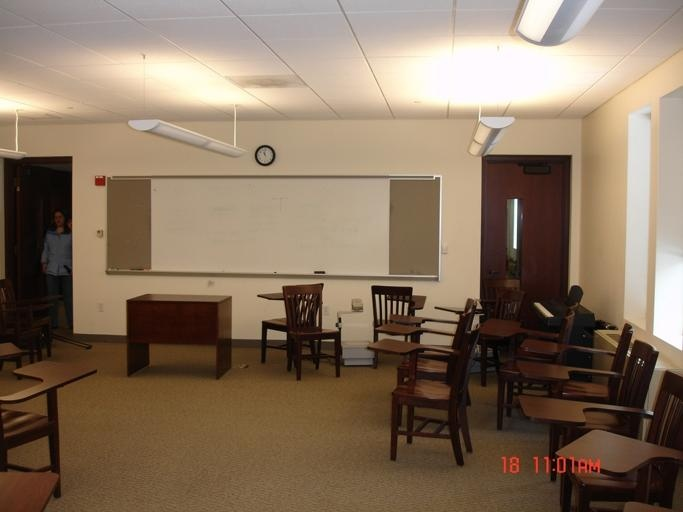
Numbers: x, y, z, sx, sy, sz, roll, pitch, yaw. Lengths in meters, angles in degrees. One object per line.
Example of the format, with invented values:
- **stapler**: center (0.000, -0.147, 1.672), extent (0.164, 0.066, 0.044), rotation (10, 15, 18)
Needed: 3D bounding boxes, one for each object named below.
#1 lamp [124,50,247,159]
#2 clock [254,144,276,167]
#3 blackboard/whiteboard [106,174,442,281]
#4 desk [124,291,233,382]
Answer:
- **lamp**: center (-1.996, -1.684, 6.591), extent (1.431, 0.855, 3.324), rotation (1, 7, 3)
- **clock**: center (-1.121, -1.482, 8.010), extent (0.303, 0.303, 0.062), rotation (3, 5, 4)
- **blackboard/whiteboard**: center (-0.949, -0.448, 8.045), extent (4.761, 1.460, 0.573), rotation (0, 7, 1)
- **desk**: center (-2.030, 1.272, 7.034), extent (1.538, 1.174, 0.901), rotation (1, 5, 3)
